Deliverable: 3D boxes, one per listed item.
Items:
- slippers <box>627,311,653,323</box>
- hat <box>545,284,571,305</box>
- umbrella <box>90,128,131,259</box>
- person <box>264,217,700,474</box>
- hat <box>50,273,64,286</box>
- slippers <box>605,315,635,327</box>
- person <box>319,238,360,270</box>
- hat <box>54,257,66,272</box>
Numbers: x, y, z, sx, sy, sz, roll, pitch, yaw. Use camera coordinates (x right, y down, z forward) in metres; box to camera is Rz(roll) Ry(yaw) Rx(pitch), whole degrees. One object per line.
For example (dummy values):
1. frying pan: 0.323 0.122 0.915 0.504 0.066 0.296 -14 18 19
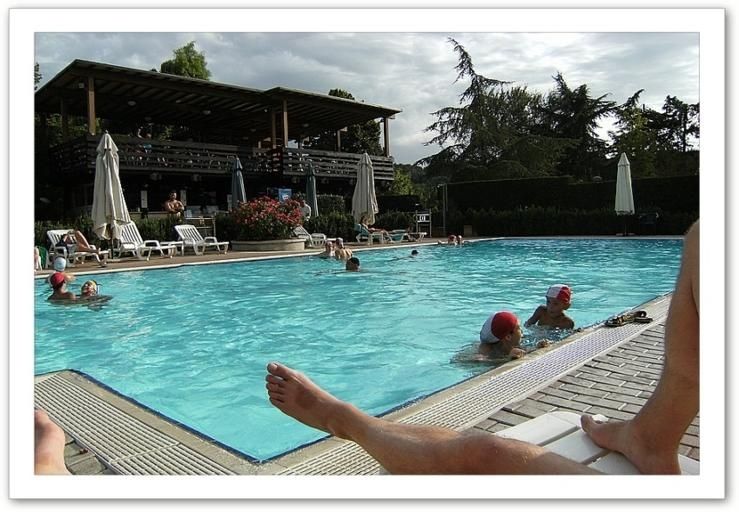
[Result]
1. slippers: 3.007 0.690 5.561 0.151 0.045 0.150 -10 3 10
2. hat: 2.283 0.443 5.975 0.252 0.187 0.244 6 8 -32
3. umbrella: -6.922 -1.603 13.251 0.865 3.267 1.051 -5 10 -28
4. person: 0.166 0.667 3.221 3.065 1.454 1.011 5 -5 10
5. hat: -4.884 0.363 7.807 0.185 0.196 0.209 -5 9 -33
6. slippers: 2.760 0.723 5.500 0.426 0.110 0.130 -3 12 -27
7. person: -0.709 -0.024 13.267 0.846 0.501 1.215 -5 17 -22
8. hat: -5.972 0.177 9.626 0.216 0.227 0.272 18 5 -23
